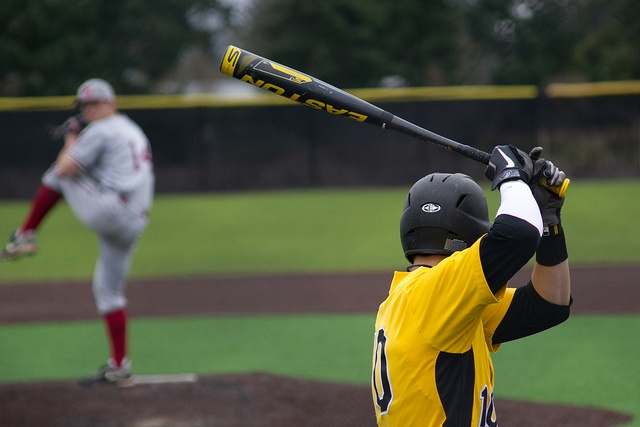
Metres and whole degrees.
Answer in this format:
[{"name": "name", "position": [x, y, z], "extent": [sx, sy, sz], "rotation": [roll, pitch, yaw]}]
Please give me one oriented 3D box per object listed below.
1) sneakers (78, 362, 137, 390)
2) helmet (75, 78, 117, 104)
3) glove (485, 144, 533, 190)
[{"name": "sneakers", "position": [-2.207, 1.683, 10.947], "extent": [0.542, 0.235, 0.249], "rotation": [2, -5, 2]}, {"name": "helmet", "position": [-2.358, -1.265, 11.089], "extent": [0.318, 0.274, 0.250], "rotation": [-22, 23, 7]}, {"name": "glove", "position": [1.736, -0.438, 9.826], "extent": [0.349, 0.452, 0.215], "rotation": [-14, -12, 6]}]
